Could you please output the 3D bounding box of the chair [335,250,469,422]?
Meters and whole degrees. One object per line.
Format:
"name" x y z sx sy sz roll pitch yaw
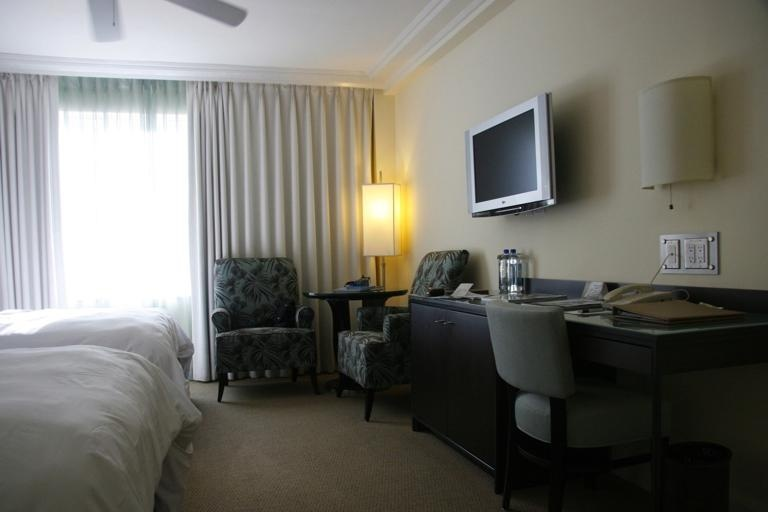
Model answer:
"chair" 0.057 0.568 4.652 0.829 1.290 1.111 1 1 -12

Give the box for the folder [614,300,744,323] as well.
"folder" 1.412 0.263 2.740 0.490 0.075 0.290 -3 7 -12

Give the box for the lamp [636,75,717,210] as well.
"lamp" 1.510 -0.642 2.921 0.363 0.537 0.156 3 7 31

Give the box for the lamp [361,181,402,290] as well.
"lamp" -0.029 -0.198 5.495 0.303 1.037 0.343 2 1 -14

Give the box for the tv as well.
"tv" 0.839 -0.662 3.837 0.091 0.746 0.845 -4 7 -24

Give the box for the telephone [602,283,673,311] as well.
"telephone" 1.302 0.203 2.950 0.220 0.095 0.163 -2 -1 0
